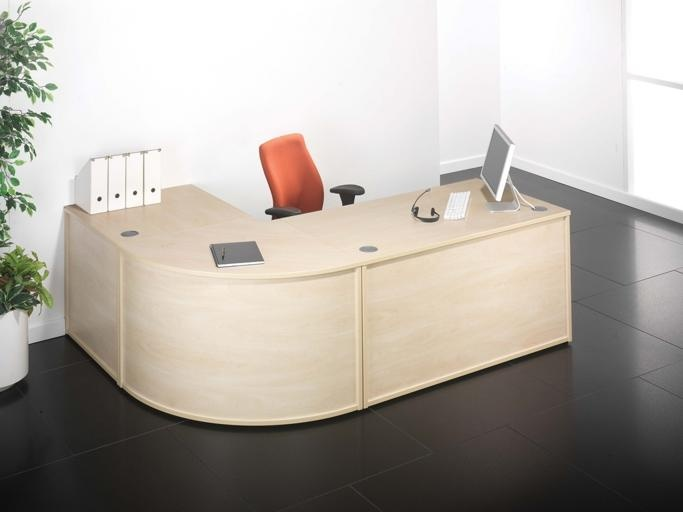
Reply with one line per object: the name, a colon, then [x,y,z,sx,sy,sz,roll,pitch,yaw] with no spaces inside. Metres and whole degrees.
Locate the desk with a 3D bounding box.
desk: [-0.139,0.246,3.492,3.527,1.304,1.398,-10,19,-11]

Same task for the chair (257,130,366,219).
chair: [-0.288,-0.735,4.395,0.666,1.001,0.599,-24,30,-38]
